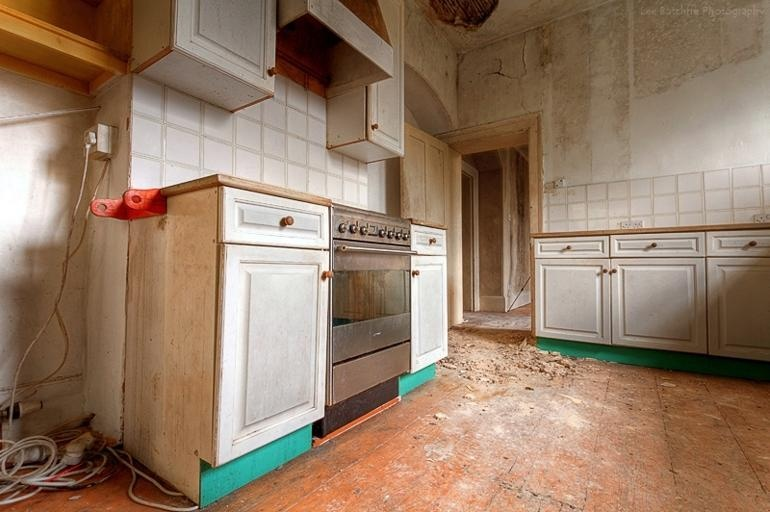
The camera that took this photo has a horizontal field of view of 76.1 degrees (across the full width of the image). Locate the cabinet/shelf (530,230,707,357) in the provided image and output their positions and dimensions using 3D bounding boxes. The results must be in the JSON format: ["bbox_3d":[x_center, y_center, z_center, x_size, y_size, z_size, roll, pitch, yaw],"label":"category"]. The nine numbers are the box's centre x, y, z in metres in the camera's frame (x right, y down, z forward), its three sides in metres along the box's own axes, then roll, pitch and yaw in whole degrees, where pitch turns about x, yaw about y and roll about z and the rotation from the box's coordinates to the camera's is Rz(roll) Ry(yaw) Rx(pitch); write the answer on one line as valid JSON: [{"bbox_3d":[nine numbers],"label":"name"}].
[{"bbox_3d":[2.150,0.197,4.425,1.572,1.103,0.850,-2,-8,34],"label":"cabinet/shelf"}]

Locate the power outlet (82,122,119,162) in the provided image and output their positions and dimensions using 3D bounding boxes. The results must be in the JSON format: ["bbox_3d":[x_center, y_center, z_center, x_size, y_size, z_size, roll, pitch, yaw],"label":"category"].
[{"bbox_3d":[-1.711,-0.663,2.928,0.204,0.188,0.109,-14,-16,37],"label":"power outlet"}]
